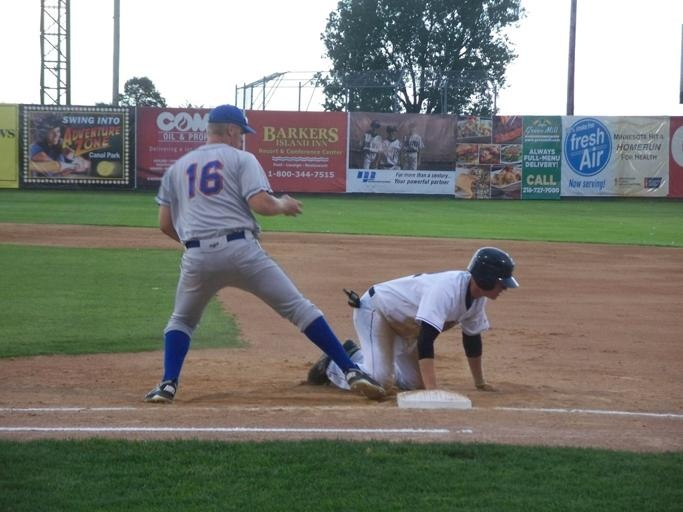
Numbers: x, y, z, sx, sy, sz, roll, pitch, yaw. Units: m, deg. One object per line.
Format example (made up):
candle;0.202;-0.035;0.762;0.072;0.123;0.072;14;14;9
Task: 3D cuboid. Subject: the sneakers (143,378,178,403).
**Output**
sneakers;-2.252;1.705;16.051;0.192;0.191;0.454;14;-13;-26

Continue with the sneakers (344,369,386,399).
sneakers;0.341;1.653;16.296;0.594;0.250;0.287;39;17;-26

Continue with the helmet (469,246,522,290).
helmet;1.975;0.127;16.170;0.639;0.448;0.456;4;15;4
